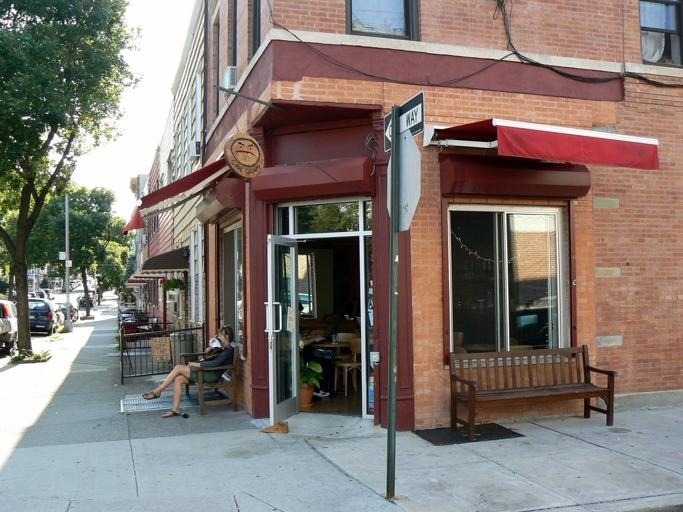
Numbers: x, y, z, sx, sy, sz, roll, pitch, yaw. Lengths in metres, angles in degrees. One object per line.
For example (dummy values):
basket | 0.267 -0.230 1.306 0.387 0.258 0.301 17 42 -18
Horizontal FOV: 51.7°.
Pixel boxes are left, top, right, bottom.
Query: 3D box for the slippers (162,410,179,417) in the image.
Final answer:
slippers | -3.203 2.997 13.248 0.330 0.135 0.114 3 -6 -11

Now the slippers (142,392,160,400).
slippers | -3.859 2.866 14.277 0.397 0.150 0.216 2 -3 5

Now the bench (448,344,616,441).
bench | 3.345 2.421 12.179 2.742 1.323 0.847 -1 1 -16

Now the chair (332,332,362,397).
chair | 0.114 2.280 14.697 0.562 1.233 1.342 -1 -4 0

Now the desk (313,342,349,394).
desk | -0.172 2.321 14.817 0.913 0.913 0.944 0 5 2
